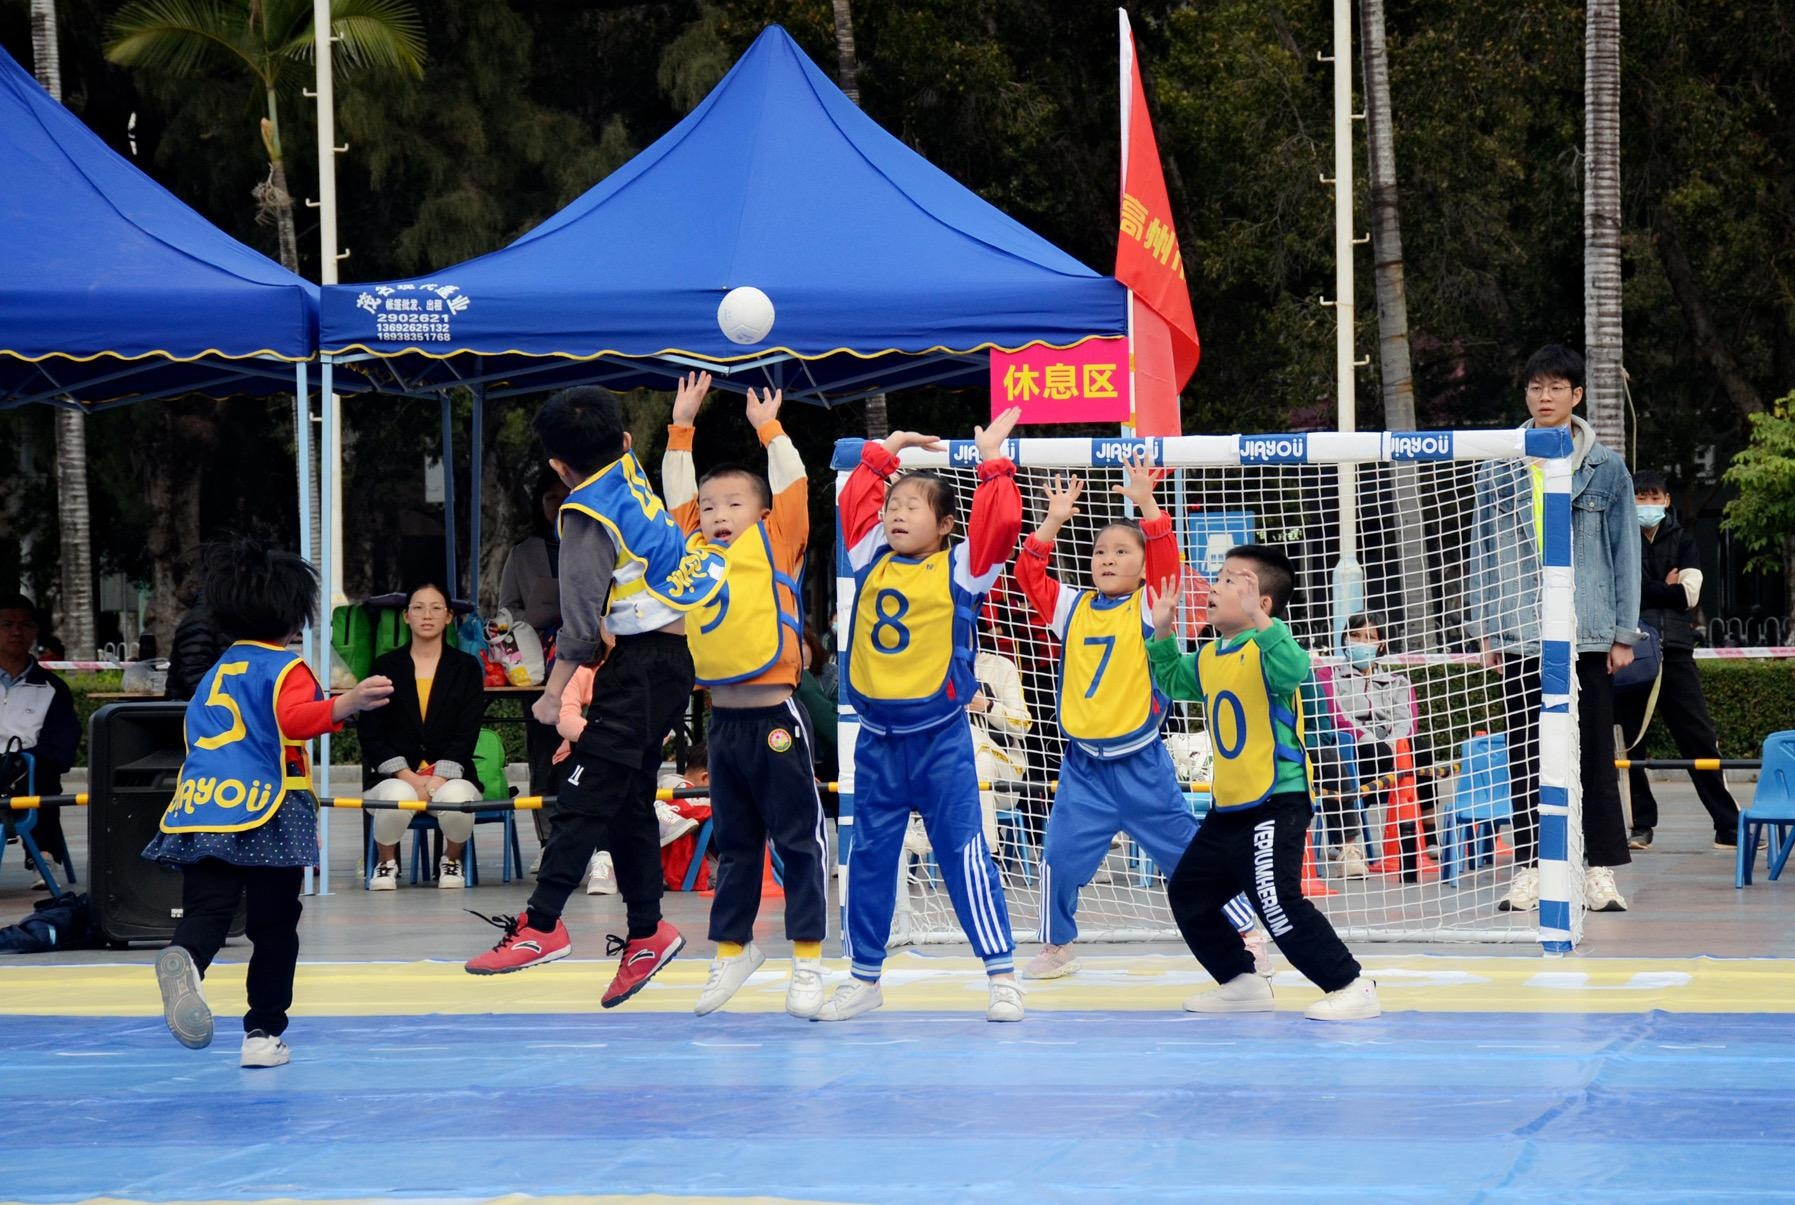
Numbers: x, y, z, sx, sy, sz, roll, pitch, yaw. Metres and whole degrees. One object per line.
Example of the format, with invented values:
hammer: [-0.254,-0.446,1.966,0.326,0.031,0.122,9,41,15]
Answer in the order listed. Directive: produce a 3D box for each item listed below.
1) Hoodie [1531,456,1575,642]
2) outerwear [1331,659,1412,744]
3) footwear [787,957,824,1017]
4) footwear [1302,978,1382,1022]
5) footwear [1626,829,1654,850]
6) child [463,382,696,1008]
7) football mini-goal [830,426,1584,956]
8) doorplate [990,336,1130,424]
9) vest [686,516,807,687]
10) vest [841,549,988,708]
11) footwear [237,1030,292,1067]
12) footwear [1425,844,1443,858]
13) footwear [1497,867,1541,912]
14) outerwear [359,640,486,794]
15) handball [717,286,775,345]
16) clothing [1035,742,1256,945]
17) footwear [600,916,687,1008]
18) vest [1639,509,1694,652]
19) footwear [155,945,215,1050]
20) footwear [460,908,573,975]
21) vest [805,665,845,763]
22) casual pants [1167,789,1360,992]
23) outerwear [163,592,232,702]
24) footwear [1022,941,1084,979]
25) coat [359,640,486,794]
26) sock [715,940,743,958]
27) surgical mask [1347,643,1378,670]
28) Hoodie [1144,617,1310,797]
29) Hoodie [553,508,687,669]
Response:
Hoodie: [3.927,-0.289,15.141,0.219,1.129,0.761,-3,-2,14]
outerwear: [3.266,0.720,17.493,0.540,0.684,0.431,-2,-11,-1]
footwear: [-0.508,2.117,13.722,0.157,0.149,0.381,0,15,-3]
footwear: [2.424,2.187,13.805,0.409,0.213,0.195,1,-4,2]
footwear: [5.544,1.780,18.893,0.167,0.173,0.417,2,2,17]
child: [-1.731,0.502,13.952,1.300,3.267,1.030,5,-7,-27]
football mini-goal: [1.873,0.659,15.364,3.591,2.384,1.281,-1,-6,1]
doorplate: [1.072,-1.483,16.778,0.835,0.457,0.012,0,-6,1]
vest: [-0.840,0.009,13.661,0.725,0.940,0.513,-9,-20,18]
vest: [0.088,0.137,13.730,0.843,1.035,0.590,-2,-12,25]
footwear: [-3.288,2.344,13.155,0.129,0.132,0.294,1,0,11]
footwear: [3.697,1.737,17.478,0.114,0.124,0.305,3,0,9]
footwear: [3.963,1.844,16.042,0.156,0.175,0.403,-6,-5,43]
outerwear: [-3.282,0.832,18.056,1.242,1.394,0.907,0,-4,-7]
handball: [-1.010,-1.895,16.715,0.250,0.244,0.280,27,-7,30]
clothing: [1.436,1.436,14.660,1.339,1.184,0.471,-2,-11,4]
footwear: [-1.427,2.056,14.183,0.562,0.292,0.188,-42,18,3]
vest: [5.669,-0.135,18.581,0.633,1.024,0.385,-2,-6,6]
footwear: [-3.689,2.065,13.153,0.251,0.570,0.265,-17,-7,-3]
footwear: [-2.107,1.867,13.917,0.594,0.279,0.349,0,0,-18]
vest: [-0.559,0.817,17.971,0.415,0.540,0.201,5,10,41]
casual pants: [2.021,1.665,14.198,1.016,1.221,0.791,-11,-14,40]
outerwear: [-4.508,0.306,16.262,0.431,0.638,0.757,-1,-9,7]
footwear: [0.898,2.105,14.750,0.374,0.169,0.148,-5,1,-23]
coat: [-3.275,0.834,18.055,1.242,1.394,0.907,0,-4,-7]
sock: [-0.920,1.894,13.725,0.115,0.106,0.087,5,0,10]
surgical mask: [3.165,0.379,17.291,0.174,0.120,0.190,0,-9,14]
Hoodie: [1.843,0.584,14.142,0.700,0.946,0.843,22,-35,-39]
Hoodie: [-1.670,-0.078,13.723,0.852,0.785,0.707,-12,9,-16]
